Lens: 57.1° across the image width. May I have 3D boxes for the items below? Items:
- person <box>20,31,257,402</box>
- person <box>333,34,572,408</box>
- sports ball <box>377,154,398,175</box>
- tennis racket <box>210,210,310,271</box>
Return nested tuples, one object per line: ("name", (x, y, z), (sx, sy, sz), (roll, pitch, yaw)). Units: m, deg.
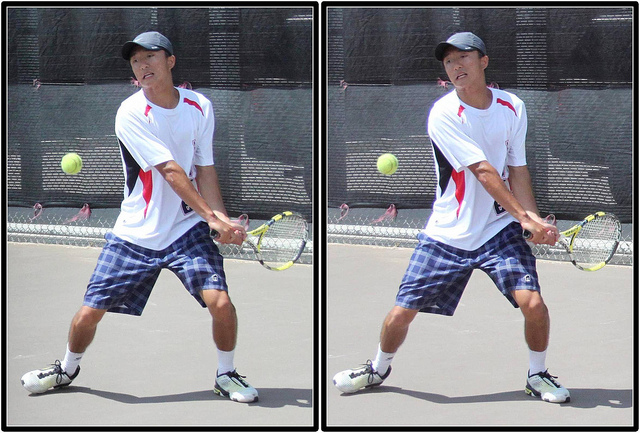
("person", (-1.011, 0.008, 3.553), (1.240, 2.210, 0.496), (0, 11, 10))
("person", (0.915, 0.020, 3.537), (1.189, 2.193, 0.589), (3, 12, 24))
("sports ball", (0.620, -0.500, 5.528), (0.182, 0.173, 0.179), (5, 29, -3))
("tennis racket", (-0.436, 0.204, 5.258), (0.484, 0.083, 1.146), (11, -16, 11))
